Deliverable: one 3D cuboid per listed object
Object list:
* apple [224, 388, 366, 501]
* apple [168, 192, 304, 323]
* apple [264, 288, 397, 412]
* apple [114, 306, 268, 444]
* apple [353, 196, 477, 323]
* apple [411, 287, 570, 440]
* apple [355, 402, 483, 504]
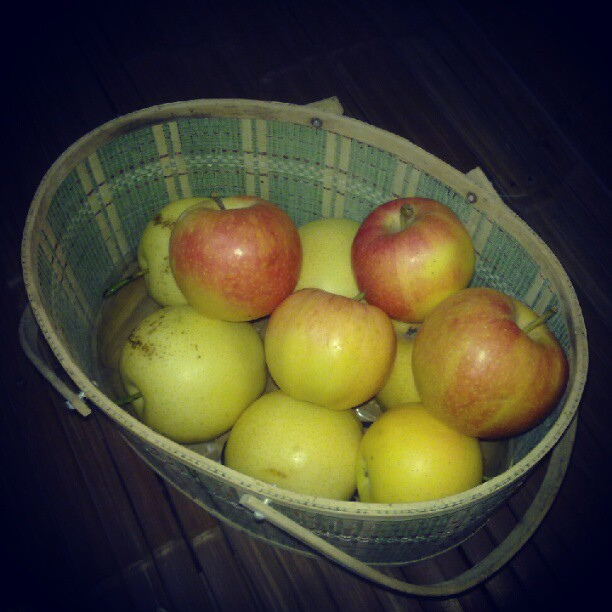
[{"bbox_3d":[-0.019,0.259,1.171,0.217,0.212,0.220,4,74,7],"label":"apple"},{"bbox_3d":[-0.155,-0.094,1.282,0.246,0.266,0.280,-5,107,-18],"label":"apple"},{"bbox_3d":[0.051,0.087,1.239,0.241,0.233,0.223,11,92,-9],"label":"apple"},{"bbox_3d":[-0.224,0.153,1.370,0.311,0.271,0.293,-16,70,-8],"label":"apple"},{"bbox_3d":[0.221,-0.087,1.310,0.213,0.229,0.245,-7,61,6],"label":"apple"},{"bbox_3d":[0.334,0.092,1.149,0.264,0.168,0.255,-9,64,-7],"label":"apple"},{"bbox_3d":[0.201,0.253,1.171,0.200,0.180,0.201,-10,104,-6],"label":"apple"}]
